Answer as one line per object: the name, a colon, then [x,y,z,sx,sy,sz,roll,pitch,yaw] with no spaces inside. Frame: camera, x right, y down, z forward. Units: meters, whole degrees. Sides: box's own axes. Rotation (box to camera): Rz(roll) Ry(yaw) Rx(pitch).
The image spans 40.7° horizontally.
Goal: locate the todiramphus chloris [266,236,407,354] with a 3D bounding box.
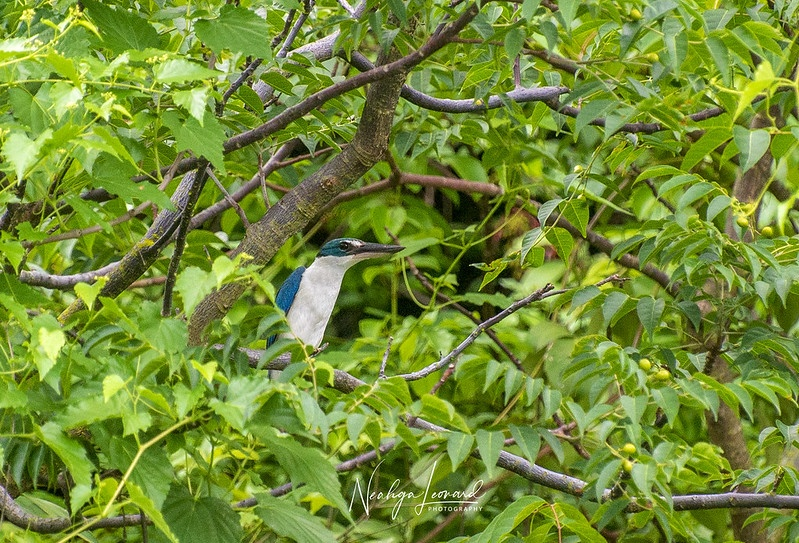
todiramphus chloris: [-0.404,0.138,5.521,0.717,0.744,0.277,16,26,16]
